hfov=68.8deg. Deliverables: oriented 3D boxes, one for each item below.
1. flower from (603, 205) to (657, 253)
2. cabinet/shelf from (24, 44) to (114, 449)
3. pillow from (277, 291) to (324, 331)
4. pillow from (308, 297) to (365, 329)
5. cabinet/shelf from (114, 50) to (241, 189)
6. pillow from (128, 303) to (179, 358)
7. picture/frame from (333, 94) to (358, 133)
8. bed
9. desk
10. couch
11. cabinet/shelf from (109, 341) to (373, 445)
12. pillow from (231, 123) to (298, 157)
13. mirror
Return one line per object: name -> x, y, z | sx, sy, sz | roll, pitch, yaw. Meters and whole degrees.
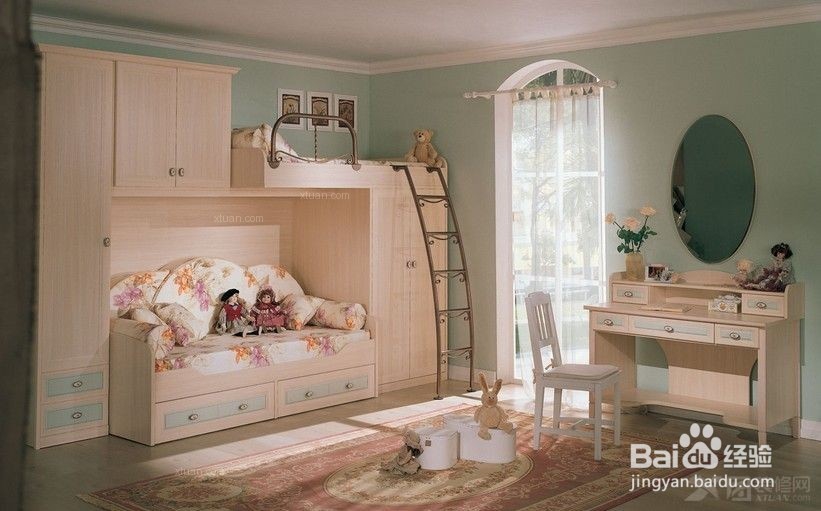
flower -> 1.915, -0.245, 5.233 | 0.444, 0.377, 0.434 | 2, 13, 32
cabinet/shelf -> -2.357, -0.109, 4.520 | 0.691, 2.765, 0.493 | 7, 8, 12
pillow -> -1.003, 0.545, 5.672 | 0.339, 0.319, 0.098 | 18, -29, 45
pillow -> -0.679, 0.553, 5.583 | 0.521, 0.200, 0.259 | 0, 21, 32
cabinet/shelf -> -2.021, -1.045, 4.807 | 0.438, 0.971, 1.144 | 14, 15, 28
pillow -> -1.985, 0.573, 4.622 | 0.344, 0.330, 0.688 | -2, 4, -27
picture/frame -> -0.723, -1.561, 6.605 | 0.029, 0.344, 0.293 | 10, 17, 36
bed -> -0.749, -0.958, 5.440 | 1.419, 0.414, 0.978 | -2, 4, -40
desk -> 2.197, 0.819, 4.596 | 0.581, 1.040, 1.472 | 0, 1, -44
couch -> -1.475, 0.543, 5.196 | 0.982, 0.702, 2.024 | 18, 14, 42
cabinet/shelf -> -1.237, 0.993, 5.103 | 1.847, 0.561, 0.529 | -6, -5, -24
pillow -> -1.272, -0.971, 5.014 | 0.406, 0.106, 0.334 | 6, 2, 23
mirror -> 2.420, -0.587, 4.814 | 0.712, 1.179, 0.023 | -6, 6, -9
